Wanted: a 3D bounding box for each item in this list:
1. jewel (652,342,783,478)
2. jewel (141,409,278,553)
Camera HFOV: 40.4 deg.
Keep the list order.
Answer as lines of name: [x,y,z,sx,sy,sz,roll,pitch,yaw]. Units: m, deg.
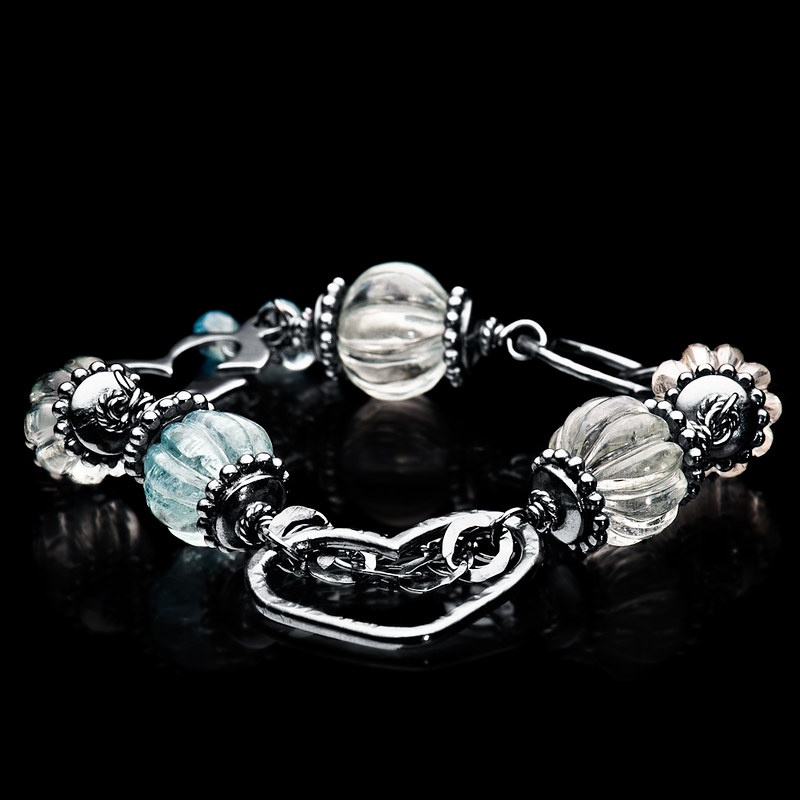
jewel: [0.725,0.070,2.610,0.358,0.356,0.103,4,-29,-28]
jewel: [-0.410,0.180,2.404,0.289,0.163,0.293,31,66,16]
